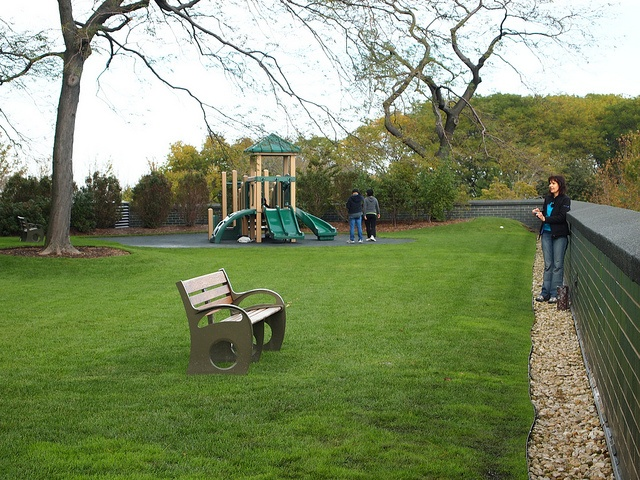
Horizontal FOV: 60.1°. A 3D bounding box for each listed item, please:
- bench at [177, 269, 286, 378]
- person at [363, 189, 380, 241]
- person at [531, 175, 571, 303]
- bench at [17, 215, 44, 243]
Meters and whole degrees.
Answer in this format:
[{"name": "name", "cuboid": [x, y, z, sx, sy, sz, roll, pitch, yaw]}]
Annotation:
[{"name": "bench", "cuboid": [-1.042, 0.950, 6.664, 0.919, 1.062, 1.201, 2, 7, 15]}, {"name": "person", "cuboid": [1.982, -0.992, 22.088, 0.589, 2.032, 1.327, 1, 6, 4]}, {"name": "person", "cuboid": [3.962, 0.006, 9.433, 0.416, 2.209, 0.548, 3, 7, 22]}, {"name": "bench", "cuboid": [-10.759, -0.421, 20.441, 0.516, 0.777, 1.017, 0, 4, -25]}]
